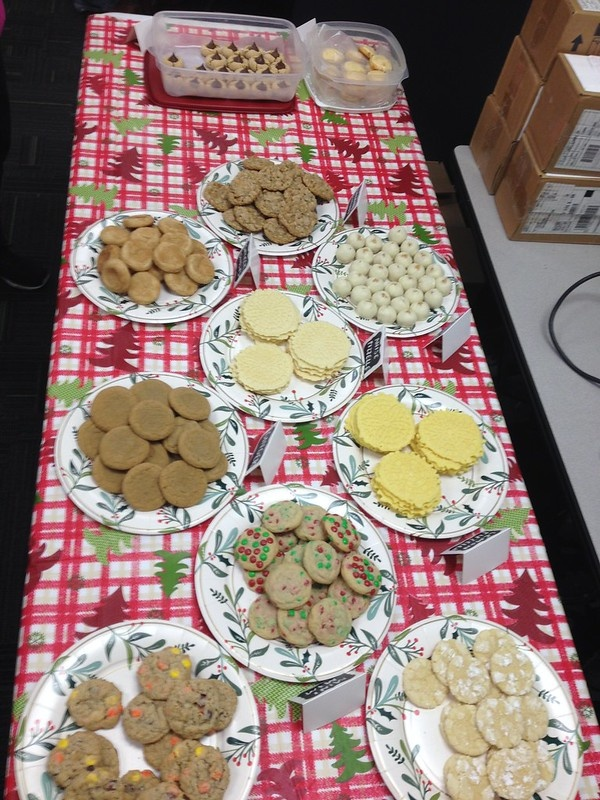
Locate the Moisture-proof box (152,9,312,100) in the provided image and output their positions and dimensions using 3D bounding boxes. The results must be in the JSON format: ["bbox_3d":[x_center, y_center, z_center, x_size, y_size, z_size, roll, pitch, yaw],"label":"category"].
[{"bbox_3d":[-0.281,-1.269,2.687,0.589,0.148,0.366,2,62,-15],"label":"Moisture-proof box"}]

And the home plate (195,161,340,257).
[{"bbox_3d":[-0.118,-0.617,2.154,0.376,0.091,0.388,38,55,14],"label":"home plate"}]

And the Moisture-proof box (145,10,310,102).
[{"bbox_3d":[-0.298,-1.264,2.679,0.599,0.151,0.374,2,62,-12],"label":"Moisture-proof box"}]

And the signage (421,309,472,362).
[{"bbox_3d":[0.432,-0.189,2.032,0.185,0.134,0.076,-39,84,-10],"label":"signage"}]

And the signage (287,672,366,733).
[{"bbox_3d":[0.052,0.589,1.326,0.131,0.112,0.043,-18,58,-23],"label":"signage"}]

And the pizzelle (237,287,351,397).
[{"bbox_3d":[-0.041,-0.141,1.839,0.310,0.057,0.273,-9,57,-20],"label":"pizzelle"}]

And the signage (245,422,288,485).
[{"bbox_3d":[-0.082,0.136,1.673,0.075,0.103,0.153,22,70,-2],"label":"signage"}]

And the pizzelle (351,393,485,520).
[{"bbox_3d":[0.280,0.122,1.705,0.319,0.071,0.301,-19,58,-18],"label":"pizzelle"}]

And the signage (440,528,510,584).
[{"bbox_3d":[0.433,0.360,1.581,0.169,0.055,0.108,-23,89,-20],"label":"signage"}]

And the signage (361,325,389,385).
[{"bbox_3d":[0.209,-0.122,1.909,0.061,0.110,0.151,16,51,-19],"label":"signage"}]

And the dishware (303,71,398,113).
[{"bbox_3d":[0.222,-1.196,2.683,0.275,0.084,0.199,0,65,-7],"label":"dishware"}]
